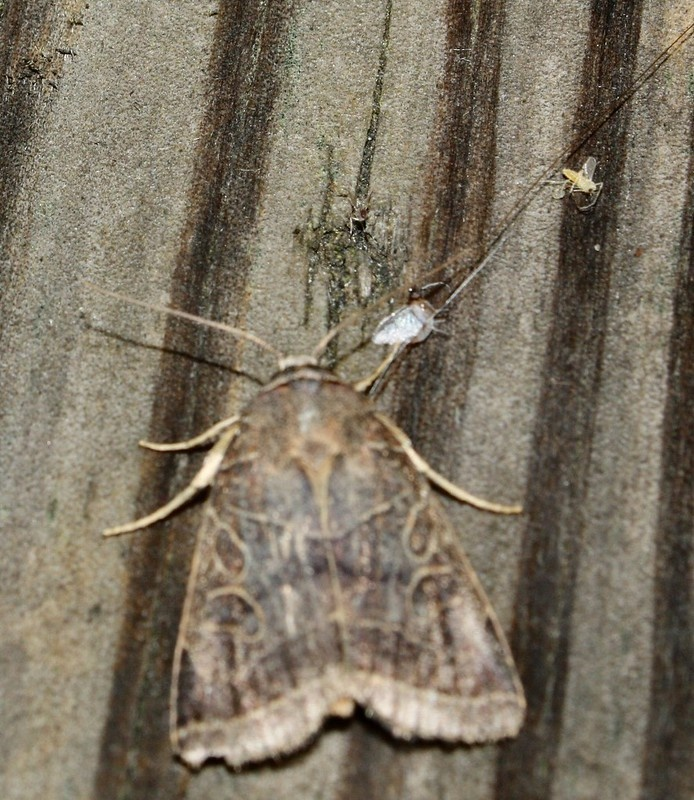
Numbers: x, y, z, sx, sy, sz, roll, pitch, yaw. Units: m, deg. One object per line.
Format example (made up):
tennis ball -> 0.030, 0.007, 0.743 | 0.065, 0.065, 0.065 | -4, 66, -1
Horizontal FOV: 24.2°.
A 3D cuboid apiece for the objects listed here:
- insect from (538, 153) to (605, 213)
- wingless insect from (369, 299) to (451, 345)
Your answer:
insect -> 1.151, -1.062, 8.019 | 0.255, 0.080, 0.287 | -38, 85, 8
wingless insect -> 0.292, -0.366, 7.994 | 0.265, 0.086, 0.251 | -29, 90, -4
